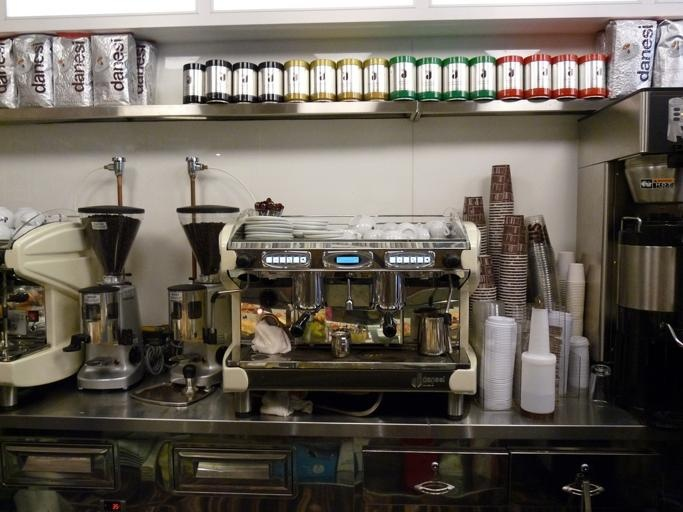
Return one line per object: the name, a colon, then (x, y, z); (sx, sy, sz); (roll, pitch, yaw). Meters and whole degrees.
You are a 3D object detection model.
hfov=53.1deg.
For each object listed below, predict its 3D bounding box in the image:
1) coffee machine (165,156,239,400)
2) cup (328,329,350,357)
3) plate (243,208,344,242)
coffee machine: (-0.635, 0.063, 3.126); (0.346, 1.078, 0.707); (-3, 4, -9)
cup: (-0.003, 0.363, 2.821); (0.081, 0.096, 0.101); (0, -4, -4)
plate: (-0.201, -0.119, 2.839); (0.412, 0.100, 0.128); (-2, 4, -9)
